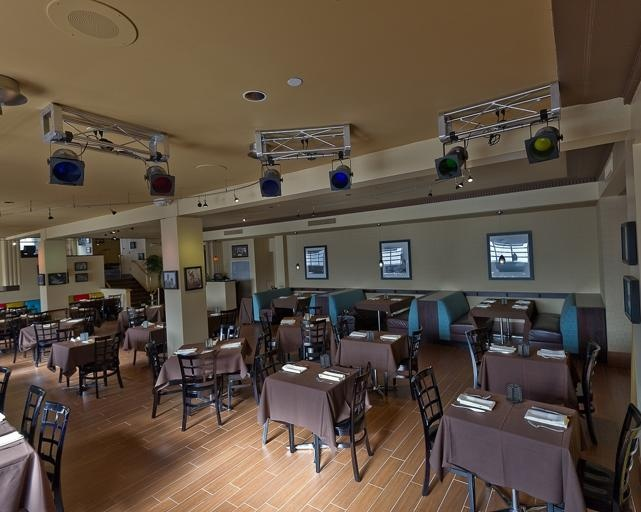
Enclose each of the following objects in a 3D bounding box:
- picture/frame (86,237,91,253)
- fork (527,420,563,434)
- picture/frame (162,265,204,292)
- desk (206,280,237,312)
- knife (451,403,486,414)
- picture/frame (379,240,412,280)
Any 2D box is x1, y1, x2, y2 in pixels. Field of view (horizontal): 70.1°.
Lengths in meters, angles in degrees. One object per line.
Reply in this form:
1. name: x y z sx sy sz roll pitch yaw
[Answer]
1. picture/frame: -10.450 -0.426 20.553 0.154 0.709 0.682 -10 12 -34
2. fork: 1.962 1.507 3.999 0.291 0.016 0.092 2 11 27
3. picture/frame: -2.706 0.508 8.983 0.794 0.466 0.598 1 33 -13
4. desk: -3.116 1.278 14.270 0.876 0.892 0.513 -4 -6 32
5. knife: 1.408 1.463 4.344 0.455 0.026 0.059 -2 18 41
6. picture/frame: 1.848 0.095 11.177 0.920 1.101 0.090 -2 -3 38
